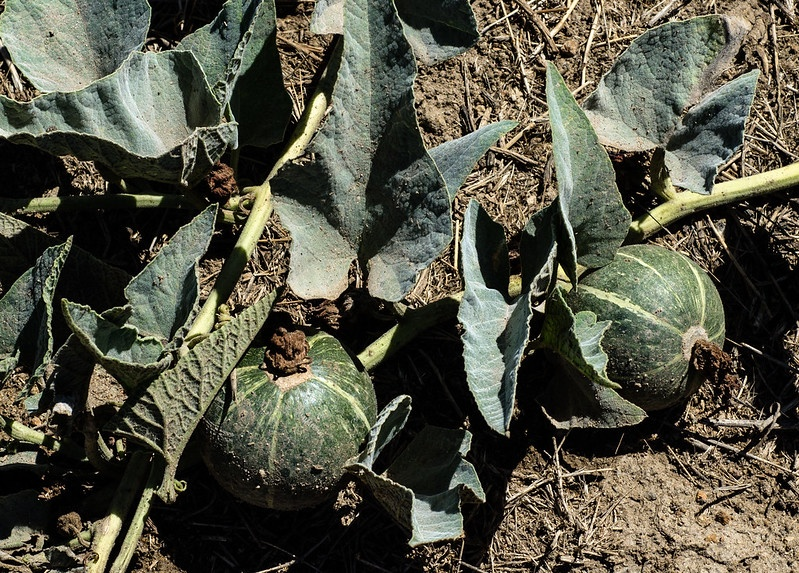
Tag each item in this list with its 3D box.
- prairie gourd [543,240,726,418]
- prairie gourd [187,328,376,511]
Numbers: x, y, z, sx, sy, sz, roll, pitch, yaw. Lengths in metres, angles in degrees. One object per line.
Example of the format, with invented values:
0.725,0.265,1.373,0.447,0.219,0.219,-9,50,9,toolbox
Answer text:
1.083,0.268,3.869,0.871,0.731,0.568,-14,34,-13,prairie gourd
-0.468,0.603,3.797,0.719,0.824,0.836,3,43,-1,prairie gourd
